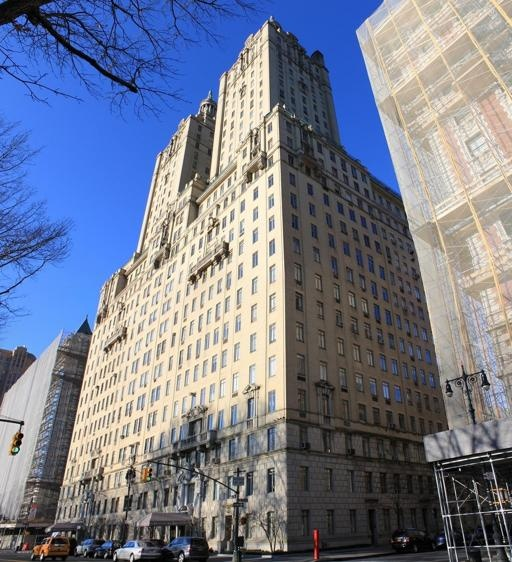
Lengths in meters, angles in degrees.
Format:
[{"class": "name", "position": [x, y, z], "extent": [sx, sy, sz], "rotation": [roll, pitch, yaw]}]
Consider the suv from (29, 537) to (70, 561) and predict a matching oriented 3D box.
[{"class": "suv", "position": [-16.734, 21.902, 33.597], "extent": [2.417, 1.645, 2.173], "rotation": [-11, -34, 19]}]

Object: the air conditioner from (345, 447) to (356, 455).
[{"class": "air conditioner", "position": [9.436, 17.386, 41.398], "extent": [1.103, 0.731, 0.576], "rotation": [19, -36, -33]}]

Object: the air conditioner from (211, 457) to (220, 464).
[{"class": "air conditioner", "position": [-4.223, 19.169, 43.798], "extent": [0.467, 0.578, 0.805], "rotation": [16, -40, -21]}]

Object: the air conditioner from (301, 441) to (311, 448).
[{"class": "air conditioner", "position": [4.487, 14.919, 37.364], "extent": [0.901, 0.562, 0.472], "rotation": [15, -27, -36]}]
